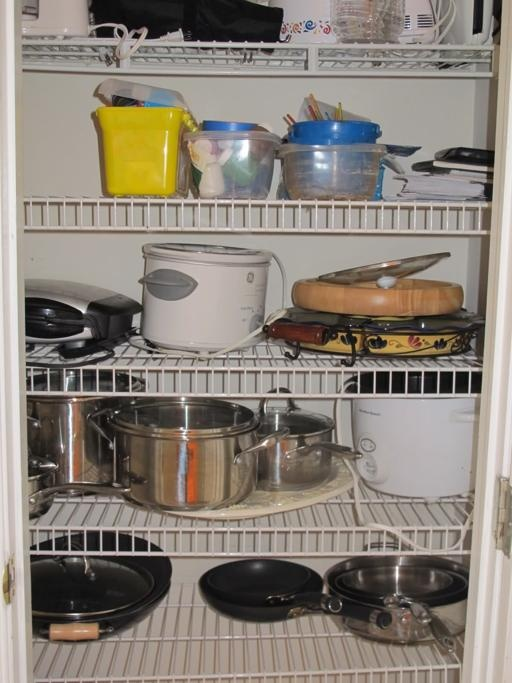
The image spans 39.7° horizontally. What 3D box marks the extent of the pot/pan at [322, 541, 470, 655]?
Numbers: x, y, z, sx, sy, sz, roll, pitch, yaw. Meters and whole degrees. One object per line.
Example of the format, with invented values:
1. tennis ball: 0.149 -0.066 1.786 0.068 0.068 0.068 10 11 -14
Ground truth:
1. pot/pan: 0.250 0.423 1.294 0.260 0.167 0.308 2 10 17

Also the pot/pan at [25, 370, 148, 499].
1. pot/pan: -0.323 0.125 1.277 0.284 0.203 0.197 0 4 -24

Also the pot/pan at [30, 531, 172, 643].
1. pot/pan: -0.281 0.433 1.280 0.260 0.094 0.277 -3 10 -13

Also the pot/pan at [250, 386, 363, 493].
1. pot/pan: 0.061 0.177 1.298 0.141 0.135 0.231 -3 6 -43

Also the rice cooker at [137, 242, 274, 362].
1. rice cooker: -0.098 -0.073 1.265 0.241 0.171 0.220 0 9 -22

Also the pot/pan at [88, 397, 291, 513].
1. pot/pan: -0.102 0.144 1.232 0.294 0.170 0.263 4 17 3
